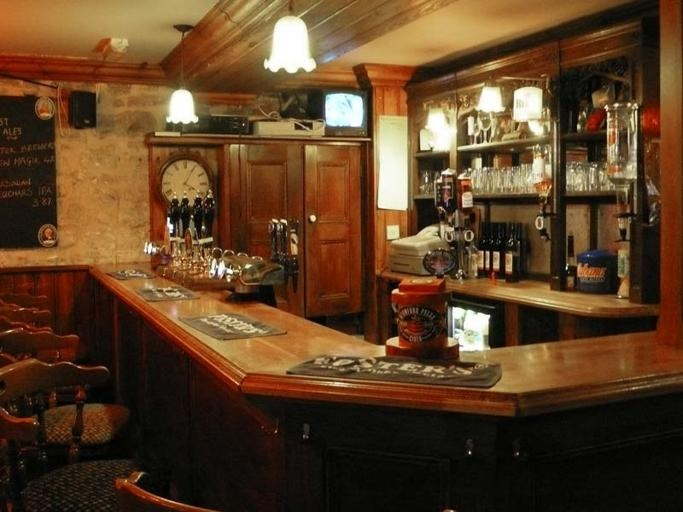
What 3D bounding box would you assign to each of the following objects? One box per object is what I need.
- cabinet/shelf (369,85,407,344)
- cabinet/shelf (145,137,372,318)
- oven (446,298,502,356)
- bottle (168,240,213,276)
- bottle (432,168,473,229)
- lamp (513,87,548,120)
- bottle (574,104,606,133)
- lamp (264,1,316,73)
[{"bbox_3d":[0.477,-0.442,6.489,0.356,2.606,0.602,3,10,33],"label":"cabinet/shelf"},{"bbox_3d":[-0.821,-0.328,5.657,1.716,1.674,0.674,-1,2,-20],"label":"cabinet/shelf"},{"bbox_3d":[1.011,0.645,5.158,0.472,0.451,0.264,11,-25,-18],"label":"oven"},{"bbox_3d":[-1.219,-0.008,4.990,0.342,0.260,1.041,-6,10,-16],"label":"bottle"},{"bbox_3d":[0.979,-0.521,5.552,0.446,0.672,0.461,-3,6,0],"label":"bottle"},{"bbox_3d":[1.420,-1.148,4.749,0.237,0.256,0.243,0,5,5],"label":"lamp"},{"bbox_3d":[1.817,-1.006,4.609,0.188,0.191,0.410,-3,10,-1],"label":"bottle"},{"bbox_3d":[-0.289,-1.148,3.405,0.255,0.284,0.132,-4,9,-5],"label":"lamp"}]
